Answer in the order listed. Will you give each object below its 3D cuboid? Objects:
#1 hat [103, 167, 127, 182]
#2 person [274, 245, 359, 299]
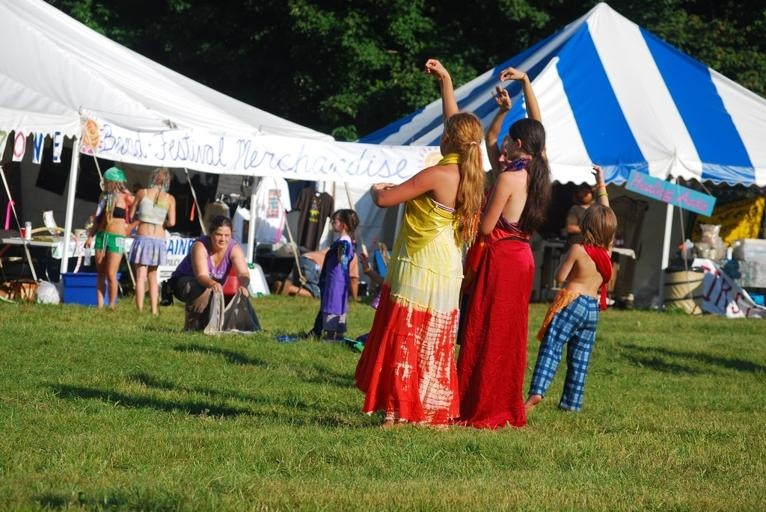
[{"bbox_3d":[-4.775,-1.430,21.243,0.413,0.262,0.341,1,12,-18],"label":"hat"},{"bbox_3d":[-1.655,0.192,24.684,1.630,0.795,0.988,-21,31,-30],"label":"person"}]
